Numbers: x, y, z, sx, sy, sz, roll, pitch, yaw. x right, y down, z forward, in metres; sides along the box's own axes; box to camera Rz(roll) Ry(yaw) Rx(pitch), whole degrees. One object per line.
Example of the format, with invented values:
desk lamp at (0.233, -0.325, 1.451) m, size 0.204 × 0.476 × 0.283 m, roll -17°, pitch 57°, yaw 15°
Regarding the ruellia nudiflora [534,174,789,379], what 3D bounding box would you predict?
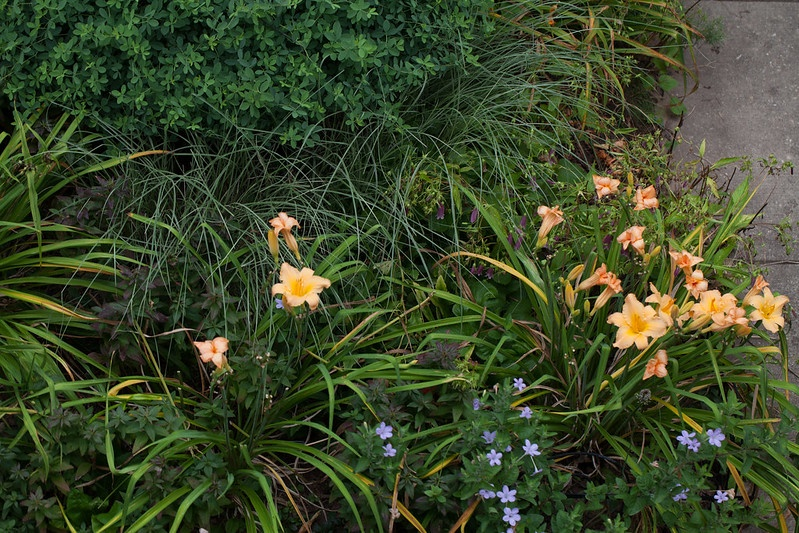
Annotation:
ruellia nudiflora at (1.580, 0.227, 3.539) m, size 1.217 × 0.575 × 1.442 m, roll -6°, pitch 63°, yaw 3°
